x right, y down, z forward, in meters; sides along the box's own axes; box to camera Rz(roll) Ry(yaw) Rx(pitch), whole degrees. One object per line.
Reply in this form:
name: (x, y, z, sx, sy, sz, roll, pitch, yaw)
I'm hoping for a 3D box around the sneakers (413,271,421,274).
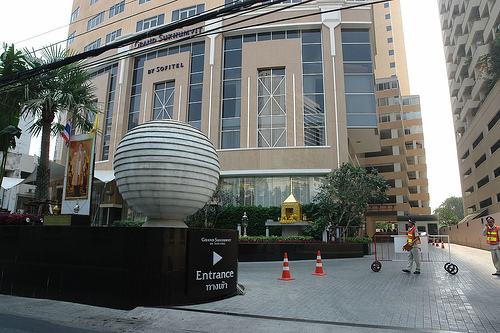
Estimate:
sneakers: (7.649, 4.827, 14.687, 0.267, 0.136, 0.429, -4, -9, 23)
